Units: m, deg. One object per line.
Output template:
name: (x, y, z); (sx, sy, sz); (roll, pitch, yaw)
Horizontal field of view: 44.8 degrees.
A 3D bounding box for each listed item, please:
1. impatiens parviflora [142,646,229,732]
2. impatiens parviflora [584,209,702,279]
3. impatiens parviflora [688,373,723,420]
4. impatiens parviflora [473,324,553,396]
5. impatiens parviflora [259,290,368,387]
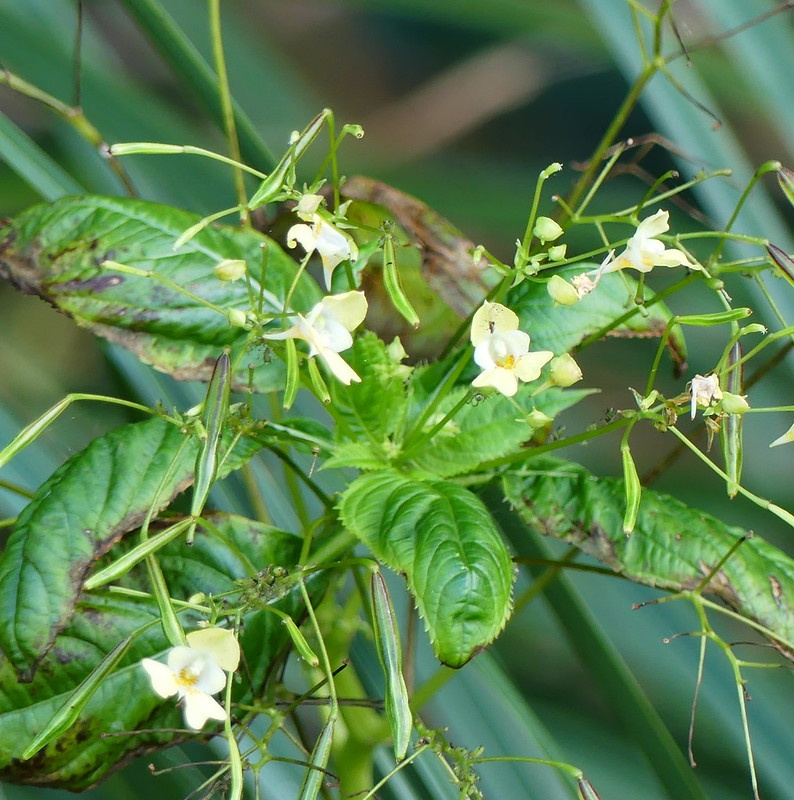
impatiens parviflora: (-0.144, 0.198, 0.671); (0.058, 0.059, 0.031); (8, 32, 21)
impatiens parviflora: (0.194, -0.125, 0.759); (0.078, 0.044, 0.068); (-8, 27, 4)
impatiens parviflora: (0.242, -0.005, 0.753); (0.030, 0.034, 0.011); (2, 12, -6)
impatiens parviflora: (0.088, -0.029, 0.748); (0.064, 0.052, 0.027); (-15, -14, 10)
impatiens parviflora: (-0.062, -0.042, 0.730); (0.075, 0.077, 0.076); (0, 28, 7)
